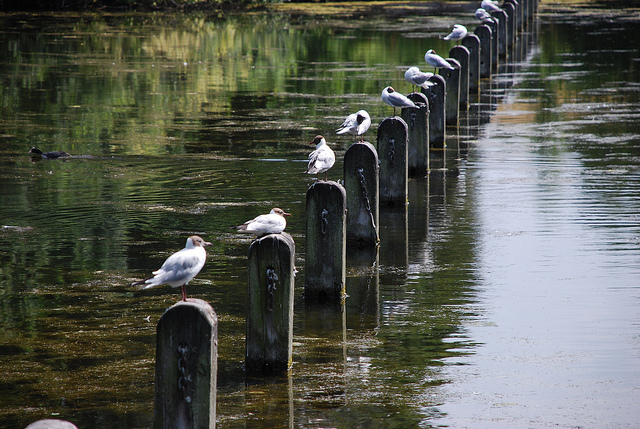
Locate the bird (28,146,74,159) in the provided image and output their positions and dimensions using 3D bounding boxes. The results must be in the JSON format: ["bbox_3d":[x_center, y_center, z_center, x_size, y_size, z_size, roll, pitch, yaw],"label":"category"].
[{"bbox_3d":[-6.679,-1.525,36.827,1.012,0.265,0.314,0,2,-6],"label":"bird"}]

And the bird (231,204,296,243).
[{"bbox_3d":[-0.881,0.196,27.846,1.441,0.781,0.630,-1,8,-19],"label":"bird"}]

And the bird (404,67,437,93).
[{"bbox_3d":[2.411,-3.385,36.272,1.133,0.632,0.406,-6,26,-23],"label":"bird"}]

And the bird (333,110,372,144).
[{"bbox_3d":[0.837,-2.012,32.569,0.570,0.650,1.201,7,10,27],"label":"bird"}]

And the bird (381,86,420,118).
[{"bbox_3d":[1.804,-2.633,34.153,1.097,0.636,0.382,5,7,29],"label":"bird"}]

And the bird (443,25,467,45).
[{"bbox_3d":[3.856,-5.187,42.400,0.431,0.527,0.884,20,26,40],"label":"bird"}]

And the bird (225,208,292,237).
[{"bbox_3d":[-1.086,0.151,27.513,0.787,0.497,0.742,0,2,2],"label":"bird"}]
